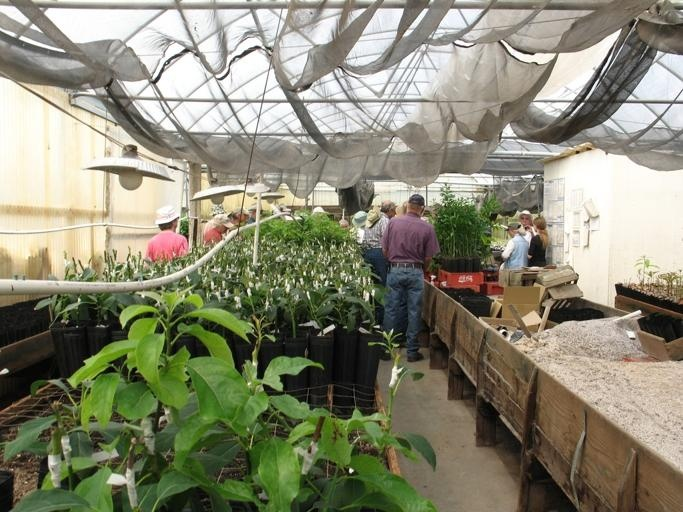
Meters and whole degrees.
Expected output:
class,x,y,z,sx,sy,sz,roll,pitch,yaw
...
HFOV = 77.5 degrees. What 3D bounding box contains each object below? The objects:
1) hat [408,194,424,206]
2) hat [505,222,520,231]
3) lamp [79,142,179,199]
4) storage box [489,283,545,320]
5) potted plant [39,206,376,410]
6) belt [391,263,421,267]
class,x,y,z,sx,sy,sz,roll,pitch,yaw
hat,1.087,-0.806,6.177,0.134,0.131,0.228,7,11,16
hat,3.226,-0.543,8.027,0.207,0.079,0.149,-3,-4,-35
lamp,-1.904,-0.819,3.851,0.604,0.402,0.736,-2,7,-14
storage box,2.167,0.539,5.211,0.498,0.396,0.513,1,1,2
potted plant,-0.833,0.339,3.260,1.837,0.979,1.880,0,7,4
belt,0.923,0.129,6.029,0.386,0.071,0.090,1,7,7
